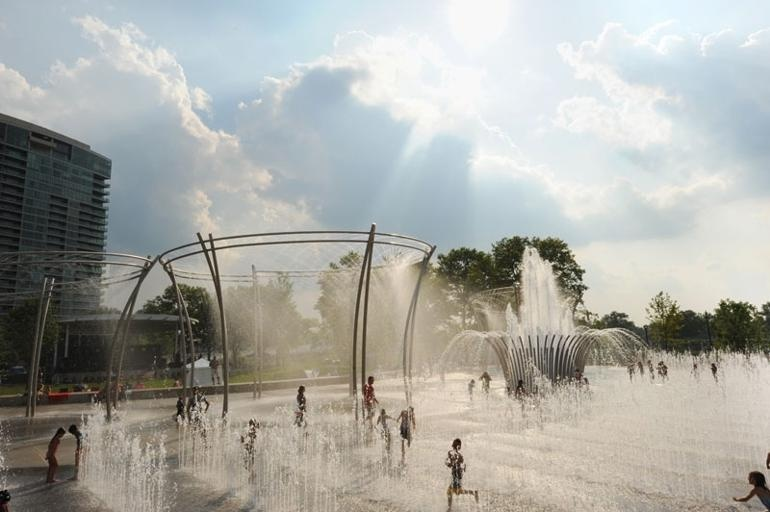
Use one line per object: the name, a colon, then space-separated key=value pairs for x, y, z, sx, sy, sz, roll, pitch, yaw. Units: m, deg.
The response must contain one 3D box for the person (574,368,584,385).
person: x=11.651 y=7.255 z=33.172 sx=0.511 sy=1.060 sz=1.449 roll=-1 pitch=-1 yaw=19
